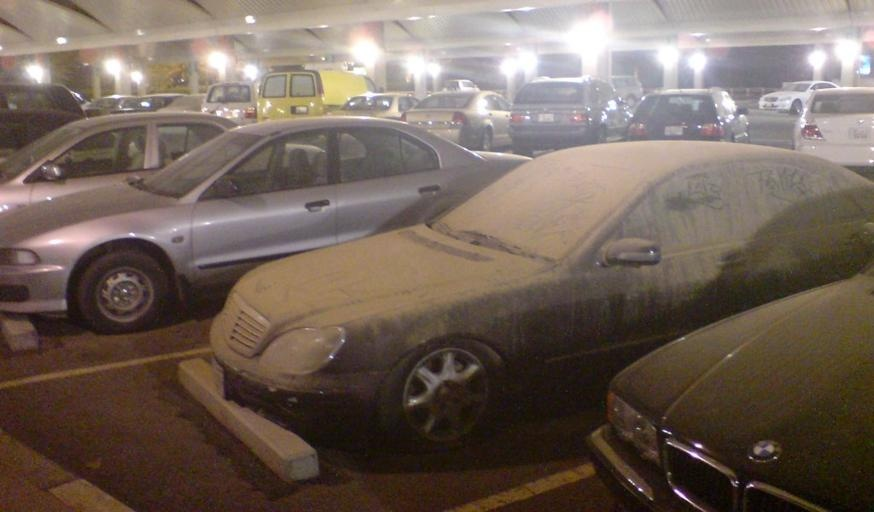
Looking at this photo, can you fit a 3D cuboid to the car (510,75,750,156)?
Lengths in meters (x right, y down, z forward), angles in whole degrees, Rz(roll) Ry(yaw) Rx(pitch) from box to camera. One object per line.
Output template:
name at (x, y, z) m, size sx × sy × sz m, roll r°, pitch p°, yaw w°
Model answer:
car at (5.275, -3.583, 16.441) m, size 5.718 × 1.923 × 2.650 m, roll -12°, pitch 20°, yaw -26°
